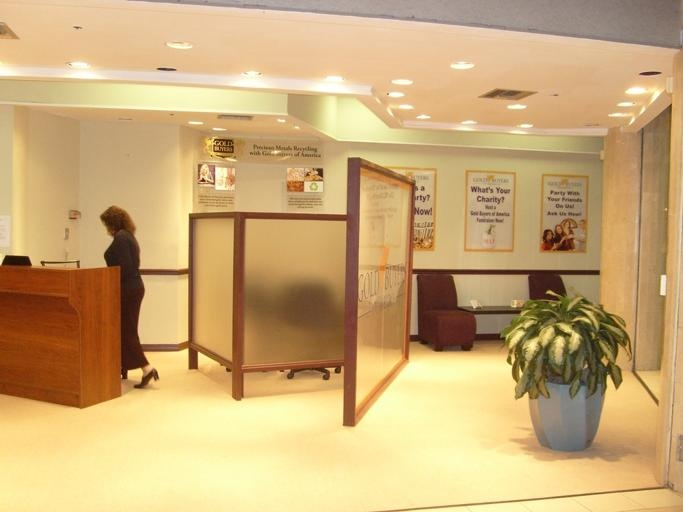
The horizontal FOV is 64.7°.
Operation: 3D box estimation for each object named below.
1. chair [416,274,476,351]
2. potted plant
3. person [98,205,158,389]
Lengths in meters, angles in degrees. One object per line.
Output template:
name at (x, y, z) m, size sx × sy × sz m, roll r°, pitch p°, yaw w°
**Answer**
chair at (1.767, 0.947, 9.252) m, size 0.755 × 1.220 × 0.967 m, roll 0°, pitch 6°, yaw -12°
potted plant at (2.203, 1.128, 5.381) m, size 1.333 × 1.368 × 1.254 m, roll 1°, pitch -1°, yaw -28°
person at (-2.645, 0.516, 6.728) m, size 0.602 × 2.251 × 0.712 m, roll -1°, pitch 6°, yaw -24°
